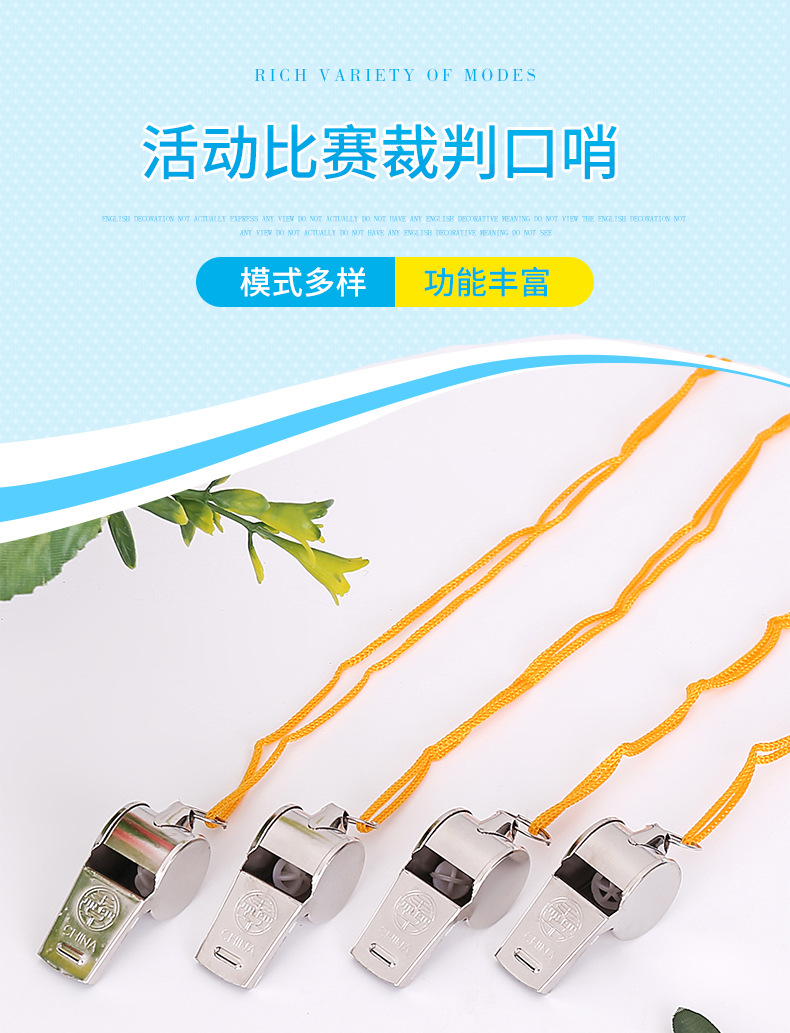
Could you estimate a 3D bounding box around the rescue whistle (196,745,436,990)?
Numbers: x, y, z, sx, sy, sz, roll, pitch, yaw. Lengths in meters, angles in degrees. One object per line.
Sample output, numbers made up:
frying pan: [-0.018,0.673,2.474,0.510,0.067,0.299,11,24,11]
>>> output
rescue whistle: [-0.155,0.628,1.750,0.132,0.446,0.216,28,-21,31]

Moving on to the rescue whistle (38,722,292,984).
rescue whistle: [-0.395,0.593,1.779,0.112,0.561,0.166,20,-43,28]
